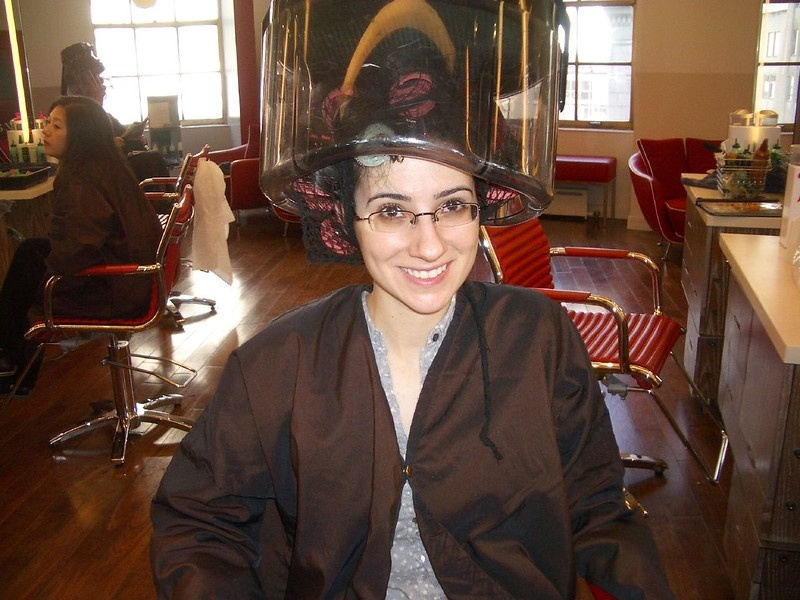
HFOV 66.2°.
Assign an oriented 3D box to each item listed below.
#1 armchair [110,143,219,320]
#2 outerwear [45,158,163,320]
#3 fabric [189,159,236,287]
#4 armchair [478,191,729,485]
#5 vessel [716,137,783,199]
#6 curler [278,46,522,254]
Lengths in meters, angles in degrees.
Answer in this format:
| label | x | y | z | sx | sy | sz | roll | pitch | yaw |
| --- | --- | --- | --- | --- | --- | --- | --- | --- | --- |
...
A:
| label | x | y | z | sx | sy | sz | roll | pitch | yaw |
| --- | --- | --- | --- | --- | --- | --- | --- | --- | --- |
| armchair | -1.419 | -0.315 | 3.608 | 0.593 | 0.841 | 0.643 | -8 | 4 | -13 |
| outerwear | -1.395 | -0.259 | 2.876 | 0.410 | 0.750 | 0.760 | 3 | 10 | 0 |
| fabric | -1.290 | -0.537 | 4.170 | 0.260 | 0.885 | 0.264 | 31 | 39 | 33 |
| armchair | 0.839 | 0.020 | 3.107 | 1.152 | 1.592 | 1.057 | -6 | 20 | 18 |
| vessel | 1.833 | -0.683 | 3.201 | 0.348 | 0.291 | 0.326 | 2 | 14 | 15 |
| curler | -0.004 | -0.237 | 1.076 | 0.329 | 0.258 | 0.265 | 1 | 11 | 20 |
